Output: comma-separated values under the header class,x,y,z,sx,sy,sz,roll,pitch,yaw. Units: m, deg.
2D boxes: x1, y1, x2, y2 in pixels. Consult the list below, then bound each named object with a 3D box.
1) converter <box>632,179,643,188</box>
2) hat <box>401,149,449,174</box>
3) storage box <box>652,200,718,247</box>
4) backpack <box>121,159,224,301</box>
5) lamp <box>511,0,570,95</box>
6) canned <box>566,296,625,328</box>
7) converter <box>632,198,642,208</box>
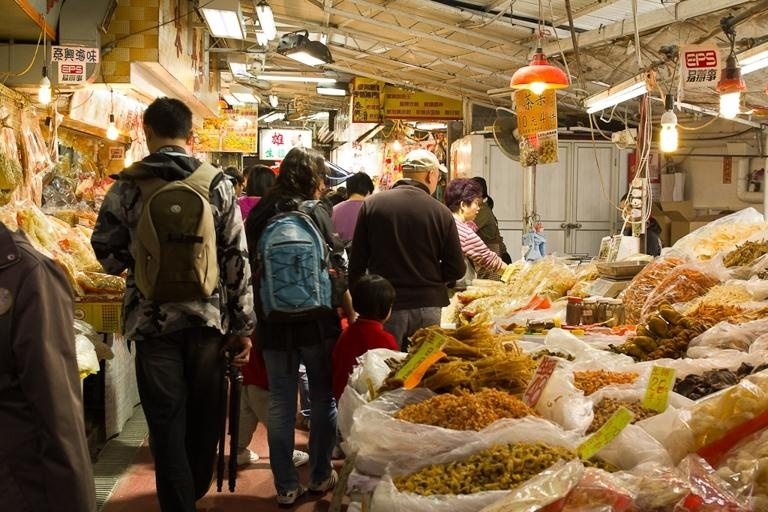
class,x,y,z,sx,sy,sz,roll,pitch,yaw
converter,2.416,-0.689,5.401,0.090,0.097,0.023,3,1,26
hat,0.289,-0.672,3.978,0.278,0.150,0.193,-4,15,-27
storage box,6.044,-0.749,11.461,1.311,0.946,1.402,-1,3,2
backpack,-1.038,-0.122,2.859,0.440,0.695,0.298,-2,4,-24
lamp,1.561,-1.977,5.591,0.476,0.832,1.119,1,4,18
canned,1.351,0.349,3.608,0.271,0.129,0.197,1,2,9
converter,2.417,-0.508,5.408,0.085,0.062,0.031,2,-1,-1
